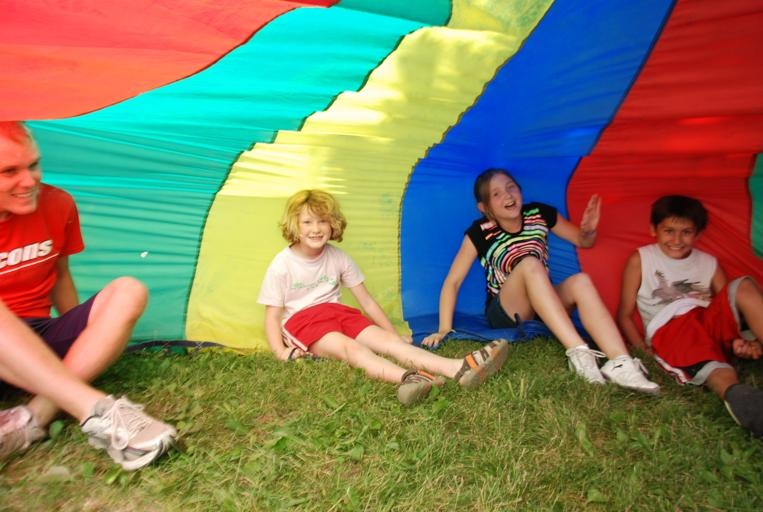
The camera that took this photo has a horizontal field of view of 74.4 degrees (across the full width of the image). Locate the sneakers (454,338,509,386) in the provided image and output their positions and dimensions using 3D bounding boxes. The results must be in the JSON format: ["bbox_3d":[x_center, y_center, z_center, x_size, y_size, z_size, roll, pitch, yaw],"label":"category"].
[{"bbox_3d":[0.573,0.617,2.942,0.332,0.223,0.139,-15,21,-38],"label":"sneakers"}]

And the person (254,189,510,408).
[{"bbox_3d":[-0.186,0.174,3.127,0.830,1.034,1.388,-15,20,-35],"label":"person"}]

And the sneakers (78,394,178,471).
[{"bbox_3d":[-1.161,0.800,2.311,0.366,0.269,0.208,5,19,25],"label":"sneakers"}]

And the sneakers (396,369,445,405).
[{"bbox_3d":[0.213,0.710,2.755,0.234,0.127,0.240,0,16,8],"label":"sneakers"}]

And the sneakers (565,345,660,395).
[{"bbox_3d":[1.354,0.685,3.077,0.562,0.199,0.221,11,61,37],"label":"sneakers"}]
